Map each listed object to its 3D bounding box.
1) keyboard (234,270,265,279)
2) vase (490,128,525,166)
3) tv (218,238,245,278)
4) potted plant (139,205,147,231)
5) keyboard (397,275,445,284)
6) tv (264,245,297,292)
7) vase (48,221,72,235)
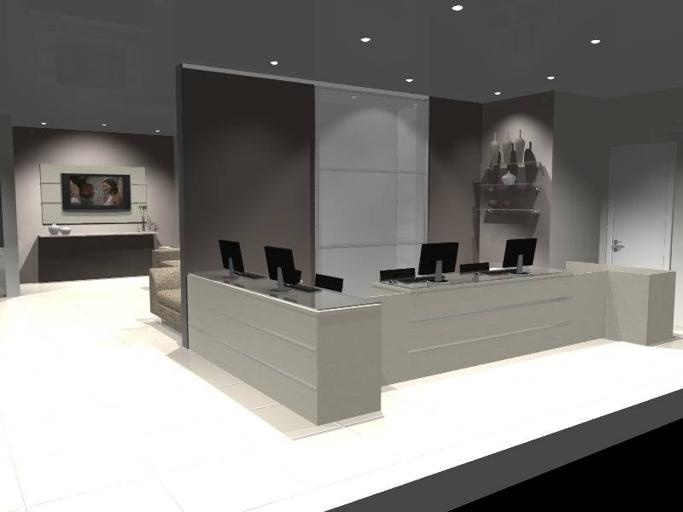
[{"bbox_3d":[-1.079,0.197,5.769,0.206,0.070,0.468,-8,11,-43],"label":"keyboard"},{"bbox_3d":[3.097,-2.023,9.038,0.212,0.632,0.683,-4,8,-34],"label":"vase"},{"bbox_3d":[-1.354,0.029,5.946,0.038,0.335,0.447,-7,10,-36],"label":"tv"},{"bbox_3d":[-4.920,-0.953,12.157,0.132,0.610,0.091,-6,10,-36],"label":"potted plant"},{"bbox_3d":[0.948,0.260,5.676,0.603,0.029,0.328,-2,8,-11],"label":"keyboard"},{"bbox_3d":[-0.659,0.137,5.179,0.441,0.467,0.218,7,13,43],"label":"tv"},{"bbox_3d":[-6.420,-0.640,11.147,0.420,0.231,0.237,2,-2,-44],"label":"vase"}]
